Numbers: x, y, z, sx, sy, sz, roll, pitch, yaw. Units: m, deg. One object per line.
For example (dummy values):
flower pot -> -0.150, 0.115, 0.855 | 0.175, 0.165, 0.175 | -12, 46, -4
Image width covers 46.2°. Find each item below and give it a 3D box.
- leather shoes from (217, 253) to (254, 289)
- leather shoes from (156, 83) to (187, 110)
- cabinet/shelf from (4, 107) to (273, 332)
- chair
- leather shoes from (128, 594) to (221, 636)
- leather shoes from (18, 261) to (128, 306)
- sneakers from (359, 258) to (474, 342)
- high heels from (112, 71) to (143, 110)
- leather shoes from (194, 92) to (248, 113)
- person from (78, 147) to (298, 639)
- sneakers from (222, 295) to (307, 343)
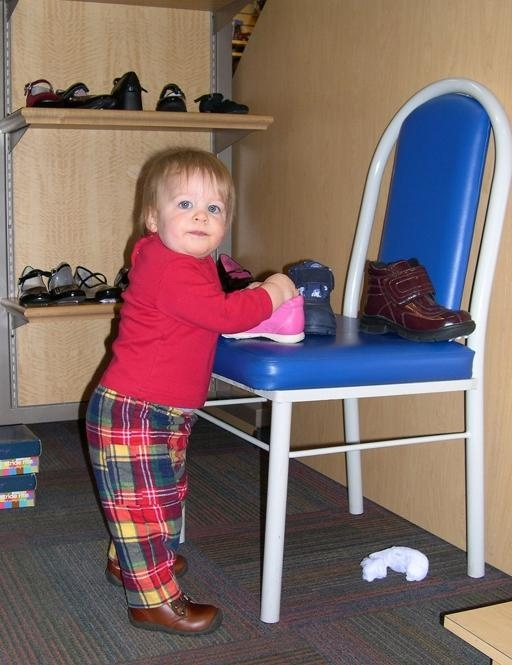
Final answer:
leather shoes -> -0.038, -0.106, 1.129 | 0.040, 0.041, 0.112 | -15, 36, -14
leather shoes -> -0.257, -0.683, 1.756 | 0.065, 0.055, 0.131 | 0, 8, -7
cabinet/shelf -> -0.355, -0.312, 1.555 | 0.802, 0.519, 0.406 | -1, 14, -11
chair -> 0.136, -0.080, 1.660 | 0.871, 1.418, 0.772 | -1, 4, -21
leather shoes -> -0.115, 0.406, 0.853 | 0.124, 0.050, 0.053 | 0, 1, -2
leather shoes -> -0.578, -0.149, 1.845 | 0.221, 0.078, 0.256 | -2, 2, -27
sneakers -> 0.256, -0.054, 0.978 | 0.065, 0.132, 0.213 | -1, 4, -27
high heels -> -0.373, -0.686, 1.730 | 0.081, 0.135, 0.170 | 0, 4, -13
leather shoes -> -0.105, -0.689, 1.803 | 0.180, 0.068, 0.065 | -2, 17, -5
person -> -0.105, 0.073, 0.917 | 0.321, 0.717, 0.218 | 2, 4, 15
sneakers -> 0.032, -0.017, 0.910 | 0.152, 0.061, 0.056 | 3, 8, 34
